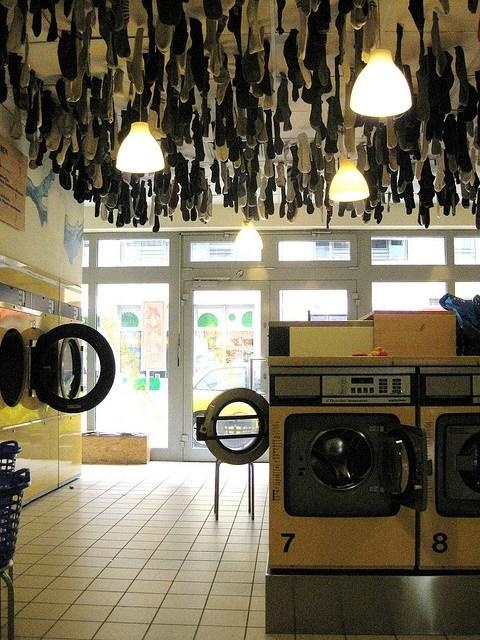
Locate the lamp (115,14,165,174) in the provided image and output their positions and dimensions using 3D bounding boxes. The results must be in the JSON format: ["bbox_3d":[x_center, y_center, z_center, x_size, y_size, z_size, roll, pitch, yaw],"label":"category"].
[{"bbox_3d":[-0.468,-1.124,2.650,0.207,0.864,0.623,0,-5,-10],"label":"lamp"}]

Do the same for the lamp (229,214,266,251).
[{"bbox_3d":[0.069,-0.799,5.220,0.219,0.359,0.270,0,5,14],"label":"lamp"}]

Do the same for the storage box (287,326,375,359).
[{"bbox_3d":[0.471,0.101,2.966,0.430,0.174,0.083,-2,-5,6],"label":"storage box"}]

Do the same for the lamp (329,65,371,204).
[{"bbox_3d":[0.604,-0.900,3.202,0.190,0.525,0.209,2,-14,-12],"label":"lamp"}]

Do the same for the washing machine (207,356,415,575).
[{"bbox_3d":[0.415,0.601,2.513,0.680,0.940,0.677,0,-5,5],"label":"washing machine"}]

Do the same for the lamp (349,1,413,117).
[{"bbox_3d":[0.515,-0.936,2.078,0.191,0.445,0.253,1,-5,4],"label":"lamp"}]

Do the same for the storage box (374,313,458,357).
[{"bbox_3d":[0.866,0.071,2.806,0.218,0.205,0.278,0,-1,0],"label":"storage box"}]

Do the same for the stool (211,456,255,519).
[{"bbox_3d":[-0.052,1.411,4.696,0.263,0.613,0.388,2,-1,11],"label":"stool"}]
